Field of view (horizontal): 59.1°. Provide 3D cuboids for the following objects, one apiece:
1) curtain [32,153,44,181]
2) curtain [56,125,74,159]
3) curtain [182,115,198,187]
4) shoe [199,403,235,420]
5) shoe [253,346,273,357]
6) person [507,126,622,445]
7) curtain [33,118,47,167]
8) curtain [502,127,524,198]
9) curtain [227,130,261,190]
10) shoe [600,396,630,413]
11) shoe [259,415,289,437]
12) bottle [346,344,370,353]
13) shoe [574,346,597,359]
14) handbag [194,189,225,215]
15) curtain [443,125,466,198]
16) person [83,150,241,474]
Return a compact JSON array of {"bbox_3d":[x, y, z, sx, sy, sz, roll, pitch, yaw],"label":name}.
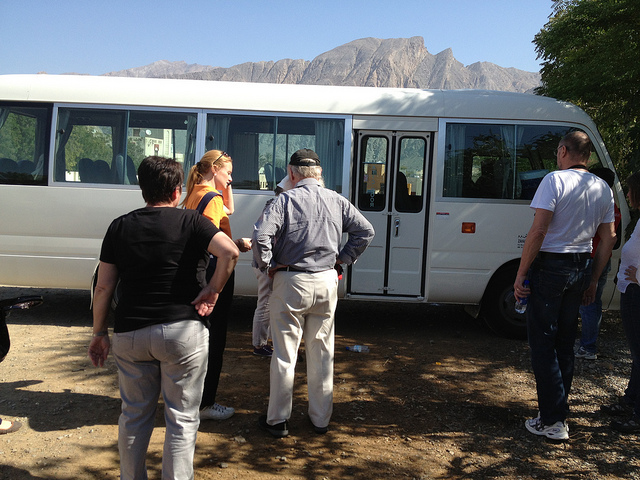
[{"bbox_3d":[-4.277,-1.111,8.529,0.193,0.364,0.134,-16,4,17],"label":"curtain"},{"bbox_3d":[-3.867,-1.547,8.609,0.148,0.572,0.090,21,-10,7],"label":"curtain"},{"bbox_3d":[-1.984,-1.320,8.655,0.227,1.212,0.062,-11,34,-31],"label":"curtain"},{"bbox_3d":[-1.091,1.832,5.993,0.383,0.187,0.140,-2,17,-15],"label":"shoe"},{"bbox_3d":[-0.770,1.528,7.805,0.322,0.187,0.130,1,0,-1],"label":"shoe"},{"bbox_3d":[2.534,0.467,5.870,1.009,3.145,0.561,-4,10,-32],"label":"person"},{"bbox_3d":[-4.320,-1.462,8.607,0.194,0.884,0.085,-2,42,-28],"label":"curtain"},{"bbox_3d":[2.936,-1.201,8.530,0.274,1.080,0.070,3,6,22],"label":"curtain"},{"bbox_3d":[-1.117,-1.236,8.605,0.469,0.923,0.049,-4,39,-15],"label":"curtain"},{"bbox_3d":[3.332,1.871,6.426,0.316,0.241,0.121,4,-5,22],"label":"shoe"},{"bbox_3d":[-0.488,1.887,5.846,0.134,0.174,0.360,1,16,-46],"label":"shoe"},{"bbox_3d":[0.561,1.564,8.137,0.218,0.060,0.127,4,1,-17],"label":"bottle"},{"bbox_3d":[3.790,1.590,8.018,0.315,0.164,0.340,6,12,21],"label":"shoe"},{"bbox_3d":[-1.112,-0.396,5.565,0.161,0.298,0.290,20,-8,19],"label":"handbag"},{"bbox_3d":[2.056,-0.966,8.546,0.398,1.723,0.078,1,2,-3],"label":"curtain"},{"bbox_3d":[-1.285,0.620,4.572,1.165,2.539,0.566,0,9,-8],"label":"person"}]
